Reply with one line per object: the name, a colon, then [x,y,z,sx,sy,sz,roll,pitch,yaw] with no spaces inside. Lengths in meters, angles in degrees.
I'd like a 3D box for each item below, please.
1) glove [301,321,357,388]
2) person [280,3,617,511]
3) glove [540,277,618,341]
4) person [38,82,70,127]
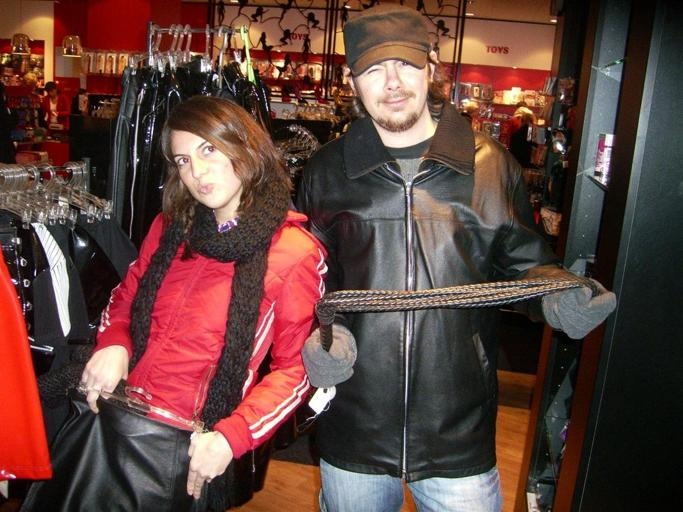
glove: [-0.037,0.260,1.366,0.143,0.180,0.069,-7,1,8]
person: [0.247,0.059,1.502,0.815,1.684,0.590,2,8,-2]
glove: [0.595,0.134,1.248,0.128,0.095,0.178,-8,3,24]
person: [-5.472,-2.862,9.376,0.480,0.891,1.325,-3,9,-31]
